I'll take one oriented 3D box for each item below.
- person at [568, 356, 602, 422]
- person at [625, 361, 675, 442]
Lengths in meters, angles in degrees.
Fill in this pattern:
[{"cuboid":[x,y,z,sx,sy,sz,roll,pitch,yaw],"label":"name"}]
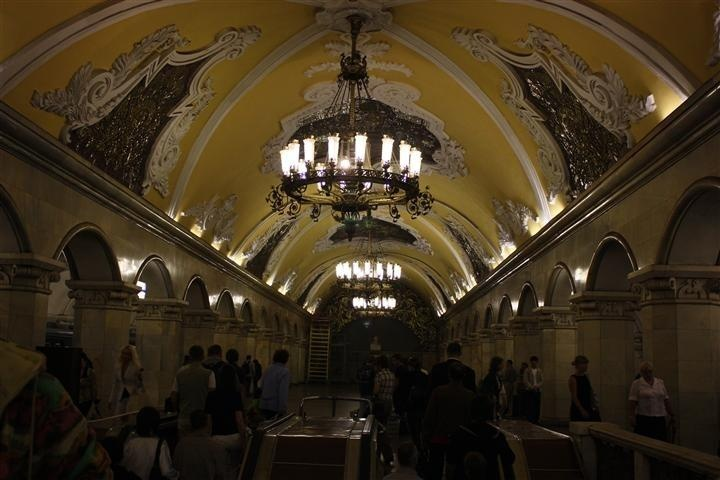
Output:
[{"cuboid":[3.538,2.333,7.815,0.392,1.012,0.720,-5,-20,24],"label":"person"},{"cuboid":[4.080,2.253,6.925,0.513,1.025,0.422,-3,-19,19],"label":"person"}]
